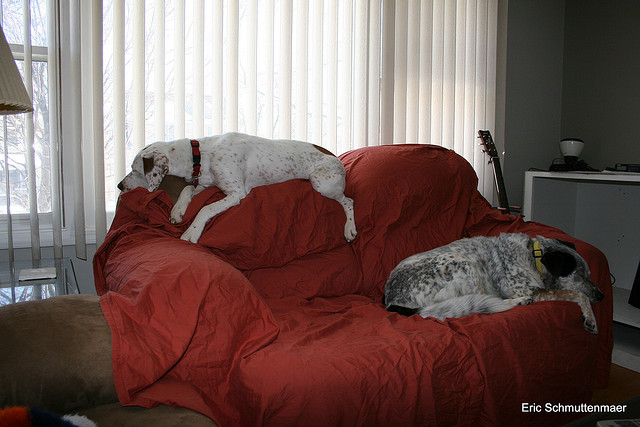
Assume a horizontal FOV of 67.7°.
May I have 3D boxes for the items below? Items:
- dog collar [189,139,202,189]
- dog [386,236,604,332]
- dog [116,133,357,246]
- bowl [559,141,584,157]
[{"bbox_3d":[-0.692,-0.293,2.673,0.053,0.193,0.134,2,4,-11],"label":"dog collar"},{"bbox_3d":[0.864,0.309,2.380,0.793,0.353,0.537,-2,0,-1],"label":"dog"},{"bbox_3d":[-0.444,-0.119,2.778,1.304,0.709,0.383,-2,-9,-13],"label":"dog"},{"bbox_3d":[2.048,-0.525,3.866,0.122,0.109,0.131,2,-7,0],"label":"bowl"}]
